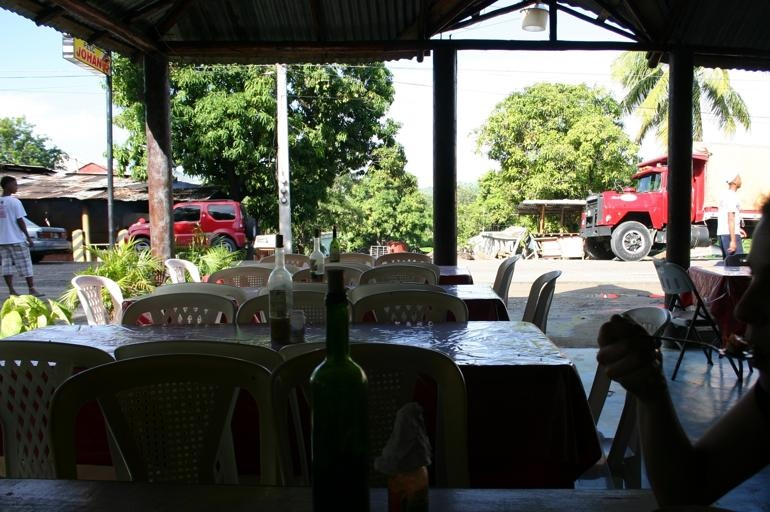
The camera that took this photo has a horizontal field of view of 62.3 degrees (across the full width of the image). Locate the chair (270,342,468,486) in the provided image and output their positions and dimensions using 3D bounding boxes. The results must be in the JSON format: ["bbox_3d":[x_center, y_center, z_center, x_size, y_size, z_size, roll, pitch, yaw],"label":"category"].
[{"bbox_3d":[-0.053,0.593,2.854,0.662,0.987,0.689,0,-10,-3],"label":"chair"}]

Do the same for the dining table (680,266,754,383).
[{"bbox_3d":[3.283,0.596,6.692,0.781,1.151,0.655,-2,5,-5],"label":"dining table"}]

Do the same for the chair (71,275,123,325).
[{"bbox_3d":[-2.412,0.365,5.413,0.331,0.447,0.523,-3,7,-18],"label":"chair"}]

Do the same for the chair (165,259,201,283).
[{"bbox_3d":[-2.323,0.180,7.277,0.252,0.365,0.248,-1,2,45],"label":"chair"}]

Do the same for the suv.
[{"bbox_3d":[-5.091,-0.856,16.024,3.266,1.670,1.872,2,3,-2],"label":"suv"}]

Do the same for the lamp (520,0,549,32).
[{"bbox_3d":[1.725,-2.710,7.263,0.308,0.325,0.320,0,6,12],"label":"lamp"}]
